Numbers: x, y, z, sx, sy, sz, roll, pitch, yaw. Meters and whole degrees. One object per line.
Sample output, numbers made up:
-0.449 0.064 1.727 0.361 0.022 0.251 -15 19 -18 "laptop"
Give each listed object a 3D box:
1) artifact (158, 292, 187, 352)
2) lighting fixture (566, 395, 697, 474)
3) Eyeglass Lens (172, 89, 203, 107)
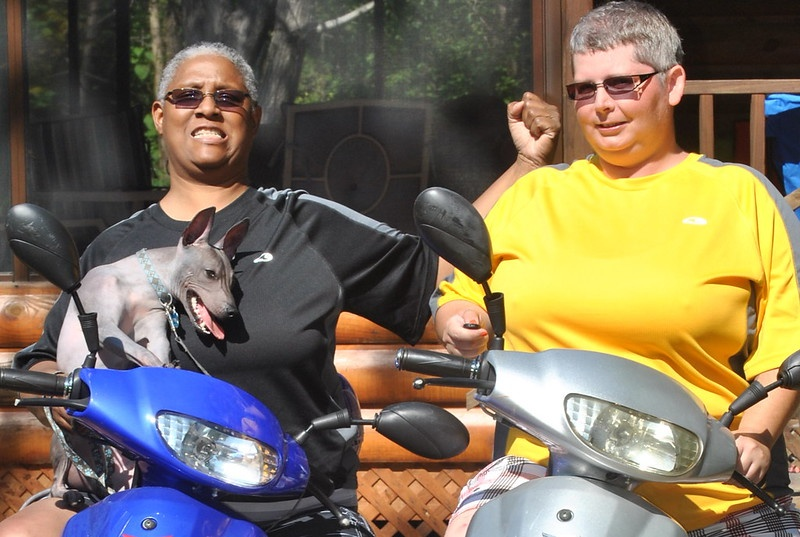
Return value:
-0.850 0.203 3.161 0.069 0.240 0.033 -21 8 -33 "artifact"
0.703 0.506 2.587 0.390 0.195 0.105 18 3 6 "lighting fixture"
-0.842 -0.668 3.288 0.147 0.078 0.045 1 11 17 "Eyeglass Lens"
